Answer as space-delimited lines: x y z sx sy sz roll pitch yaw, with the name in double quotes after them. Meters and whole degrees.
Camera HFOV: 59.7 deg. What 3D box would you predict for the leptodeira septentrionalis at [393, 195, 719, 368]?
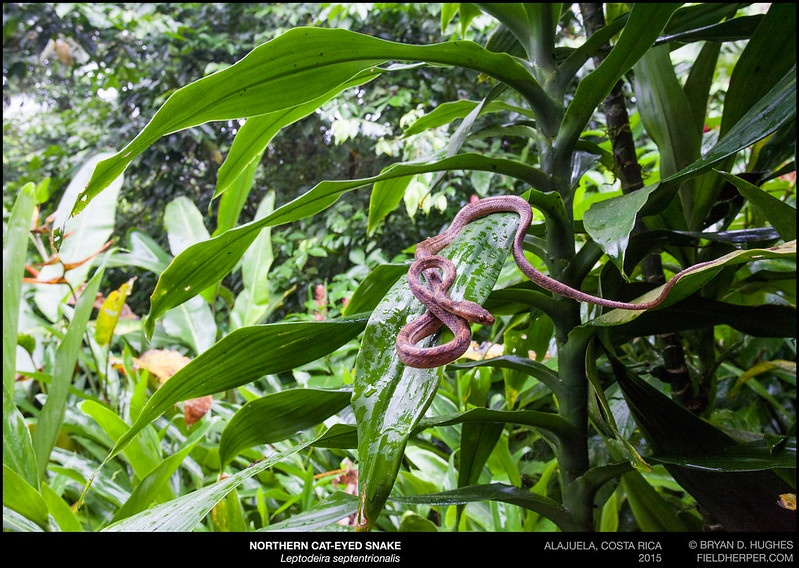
0.250 0.026 1.229 0.458 0.072 0.310 -10 51 12 "leptodeira septentrionalis"
